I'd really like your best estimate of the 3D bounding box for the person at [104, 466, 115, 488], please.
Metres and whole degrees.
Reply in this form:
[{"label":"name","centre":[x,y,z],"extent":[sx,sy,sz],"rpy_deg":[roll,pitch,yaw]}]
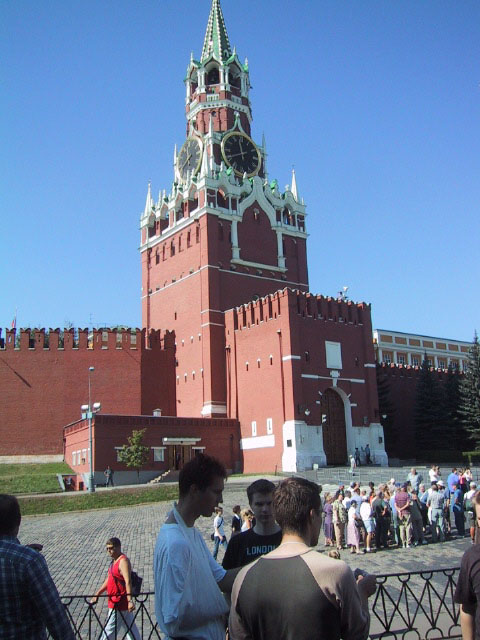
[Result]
[{"label":"person","centre":[-7.661,9.224,33.111],"extent":[0.514,1.047,0.810],"rpy_deg":[1,-12,-15]}]
